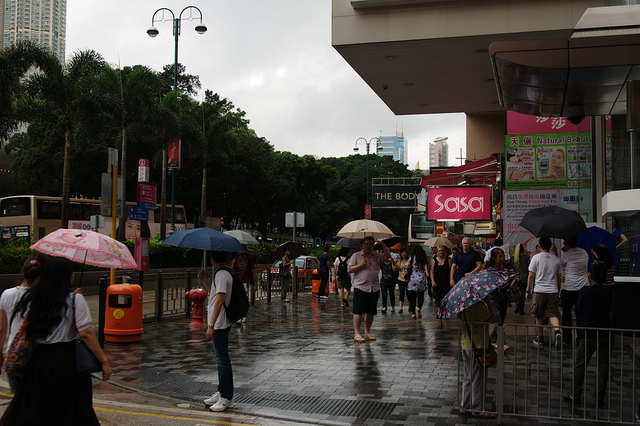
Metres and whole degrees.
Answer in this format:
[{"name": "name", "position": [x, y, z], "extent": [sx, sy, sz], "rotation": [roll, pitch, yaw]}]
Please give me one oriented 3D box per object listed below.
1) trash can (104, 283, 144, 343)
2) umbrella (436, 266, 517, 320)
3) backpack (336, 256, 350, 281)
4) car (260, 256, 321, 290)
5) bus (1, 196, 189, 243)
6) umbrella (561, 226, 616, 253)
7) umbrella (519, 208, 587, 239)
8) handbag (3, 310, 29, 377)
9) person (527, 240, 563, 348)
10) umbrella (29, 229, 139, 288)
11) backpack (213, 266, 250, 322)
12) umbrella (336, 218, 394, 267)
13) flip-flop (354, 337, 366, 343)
[{"name": "trash can", "position": [-4.573, 2.353, 14.130], "extent": [0.837, 1.315, 0.828], "rotation": [-3, -9, 10]}, {"name": "umbrella", "position": [2.315, 1.216, 9.178], "extent": [1.027, 0.780, 0.422], "rotation": [1, -2, 3]}, {"name": "backpack", "position": [0.757, 1.943, 20.775], "extent": [0.427, 0.769, 0.738], "rotation": [1, -9, 2]}, {"name": "car", "position": [-1.253, 2.541, 27.046], "extent": [1.434, 1.095, 2.297], "rotation": [-5, -11, 21]}, {"name": "bus", "position": [-10.113, 0.253, 26.291], "extent": [2.073, 2.048, 7.136], "rotation": [-1, -3, 33]}, {"name": "umbrella", "position": [6.429, 0.560, 14.604], "extent": [0.867, 0.937, 0.908], "rotation": [8, -4, 9]}, {"name": "umbrella", "position": [4.911, 0.206, 12.861], "extent": [1.247, 0.671, 0.814], "rotation": [0, -2, 25]}, {"name": "handbag", "position": [-3.788, 1.641, 7.592], "extent": [0.268, 0.784, 0.110], "rotation": [0, -2, 6]}, {"name": "person", "position": [4.751, 1.475, 12.913], "extent": [0.704, 1.812, 0.510], "rotation": [-1, -3, 30]}, {"name": "umbrella", "position": [-4.045, 0.606, 10.543], "extent": [1.251, 0.833, 1.205], "rotation": [16, -7, -11]}, {"name": "backpack", "position": [-1.455, 1.323, 9.926], "extent": [0.558, 0.921, 0.333], "rotation": [1, -2, -13]}, {"name": "umbrella", "position": [1.189, 0.692, 15.032], "extent": [1.101, 0.988, 1.100], "rotation": [6, -12, -42]}, {"name": "flip-flop", "position": [0.874, 2.909, 13.960], "extent": [0.314, 0.110, 0.169], "rotation": [-1, -3, 35]}]
